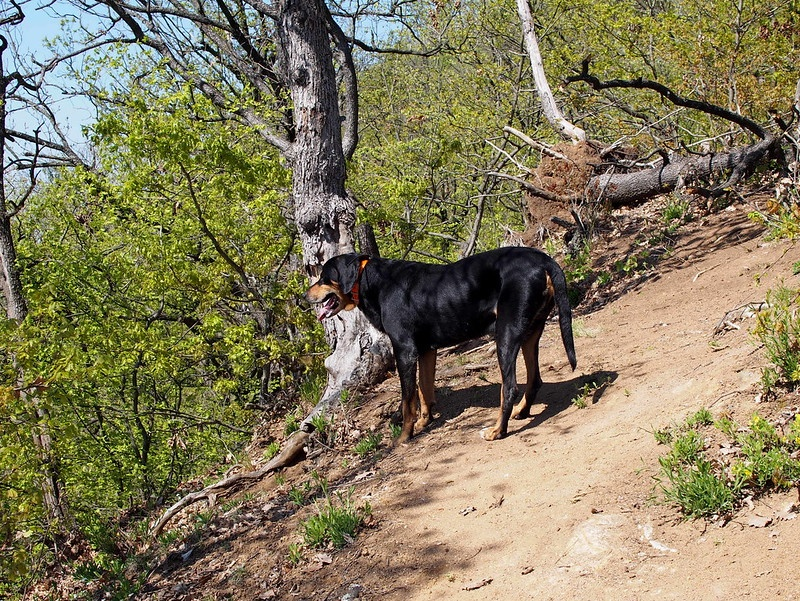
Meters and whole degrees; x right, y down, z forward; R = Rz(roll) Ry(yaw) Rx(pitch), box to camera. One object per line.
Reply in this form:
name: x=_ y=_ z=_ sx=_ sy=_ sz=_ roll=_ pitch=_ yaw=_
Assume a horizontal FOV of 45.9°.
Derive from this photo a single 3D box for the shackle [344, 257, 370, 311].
shackle: x=-0.585 y=-0.269 z=13.579 sx=0.121 sy=0.582 sz=0.409 roll=6 pitch=9 yaw=7
